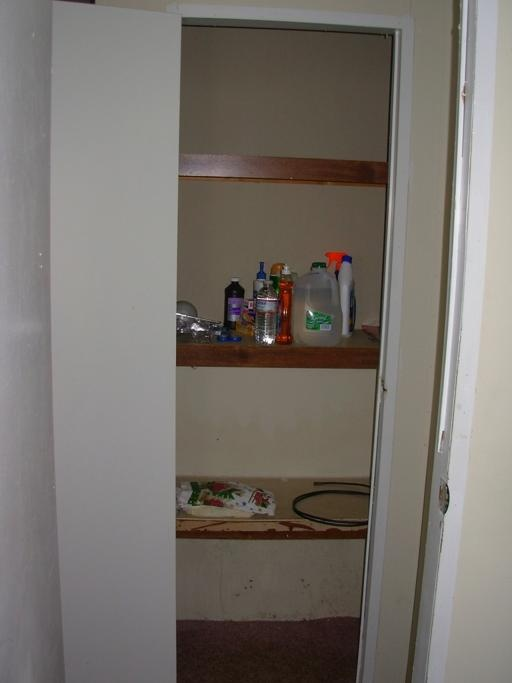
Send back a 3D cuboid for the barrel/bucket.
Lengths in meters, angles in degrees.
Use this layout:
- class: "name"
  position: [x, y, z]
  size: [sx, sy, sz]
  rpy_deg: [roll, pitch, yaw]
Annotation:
- class: "barrel/bucket"
  position: [0.183, -0.125, 1.749]
  size: [0.158, 0.251, 0.154]
  rpy_deg: [-1, 22, 0]
